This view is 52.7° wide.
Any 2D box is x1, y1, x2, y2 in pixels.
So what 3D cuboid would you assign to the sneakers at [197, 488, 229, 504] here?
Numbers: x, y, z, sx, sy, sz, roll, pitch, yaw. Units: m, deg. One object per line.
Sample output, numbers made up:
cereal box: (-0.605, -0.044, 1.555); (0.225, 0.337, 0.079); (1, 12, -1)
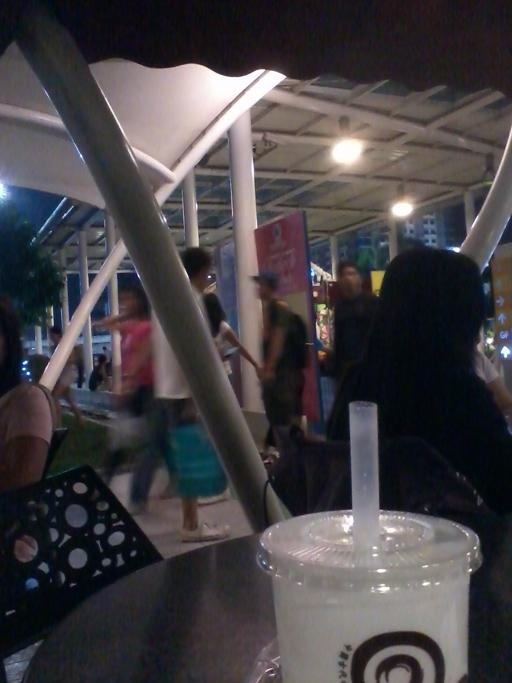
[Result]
sneakers: (-0.265, 1.032, 3.374); (0.171, 0.072, 0.129); (0, -5, -44)
